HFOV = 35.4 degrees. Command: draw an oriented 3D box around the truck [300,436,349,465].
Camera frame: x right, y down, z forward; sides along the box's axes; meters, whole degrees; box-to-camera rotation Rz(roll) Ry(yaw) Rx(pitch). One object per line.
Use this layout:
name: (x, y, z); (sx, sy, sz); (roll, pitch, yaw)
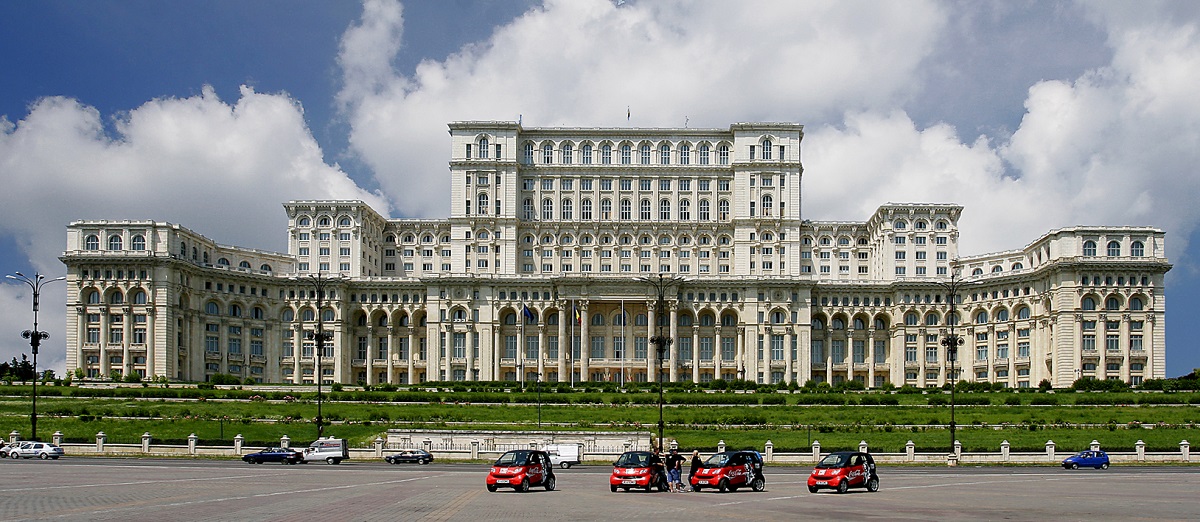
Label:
truck: (-52.764, 36.114, 359.248); (7.784, 4.866, 2.298); (0, -12, -7)
